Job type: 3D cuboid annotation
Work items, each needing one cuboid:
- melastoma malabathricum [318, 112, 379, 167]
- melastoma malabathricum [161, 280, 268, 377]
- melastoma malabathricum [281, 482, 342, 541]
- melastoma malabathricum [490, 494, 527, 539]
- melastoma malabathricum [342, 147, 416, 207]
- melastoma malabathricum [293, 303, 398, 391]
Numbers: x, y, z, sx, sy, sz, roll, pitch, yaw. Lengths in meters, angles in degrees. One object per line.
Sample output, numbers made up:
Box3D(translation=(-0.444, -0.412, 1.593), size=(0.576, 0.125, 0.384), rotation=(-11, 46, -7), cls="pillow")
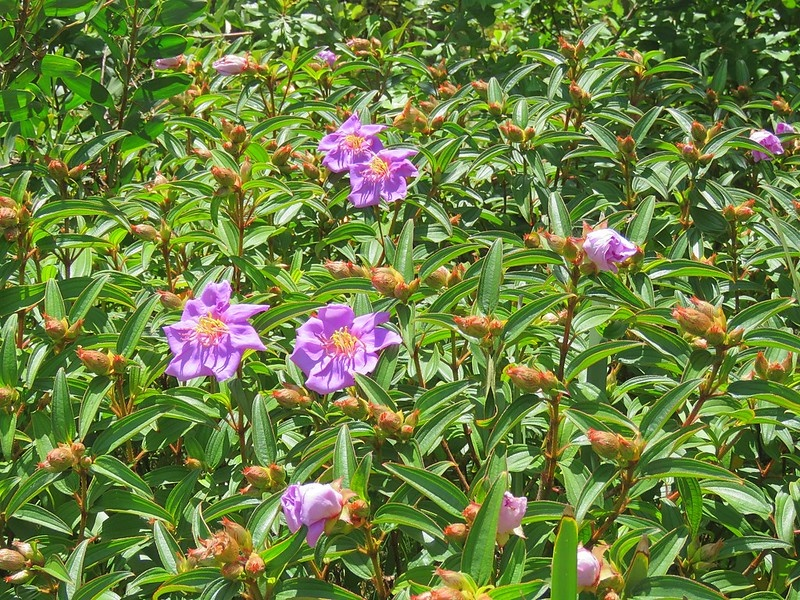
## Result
Box3D(translation=(-0.190, -0.615, 4.420), size=(0.210, 0.083, 0.222), rotation=(-23, 70, 7), cls="melastoma malabathricum")
Box3D(translation=(-0.635, 0.127, 3.825), size=(0.335, 0.268, 0.325), rotation=(6, 33, -10), cls="melastoma malabathricum")
Box3D(translation=(-0.275, 0.633, 3.428), size=(0.169, 0.181, 0.088), rotation=(18, 15, 33), cls="melastoma malabathricum")
Box3D(translation=(0.348, 0.706, 3.545), size=(0.094, 0.160, 0.133), rotation=(14, -5, 5), cls="melastoma malabathricum")
Box3D(translation=(-0.048, -0.470, 4.403), size=(0.288, 0.239, 0.196), rotation=(-6, 37, -27), cls="melastoma malabathricum")
Box3D(translation=(-0.191, 0.155, 3.781), size=(0.292, 0.118, 0.304), rotation=(-25, 63, 5), cls="melastoma malabathricum")
